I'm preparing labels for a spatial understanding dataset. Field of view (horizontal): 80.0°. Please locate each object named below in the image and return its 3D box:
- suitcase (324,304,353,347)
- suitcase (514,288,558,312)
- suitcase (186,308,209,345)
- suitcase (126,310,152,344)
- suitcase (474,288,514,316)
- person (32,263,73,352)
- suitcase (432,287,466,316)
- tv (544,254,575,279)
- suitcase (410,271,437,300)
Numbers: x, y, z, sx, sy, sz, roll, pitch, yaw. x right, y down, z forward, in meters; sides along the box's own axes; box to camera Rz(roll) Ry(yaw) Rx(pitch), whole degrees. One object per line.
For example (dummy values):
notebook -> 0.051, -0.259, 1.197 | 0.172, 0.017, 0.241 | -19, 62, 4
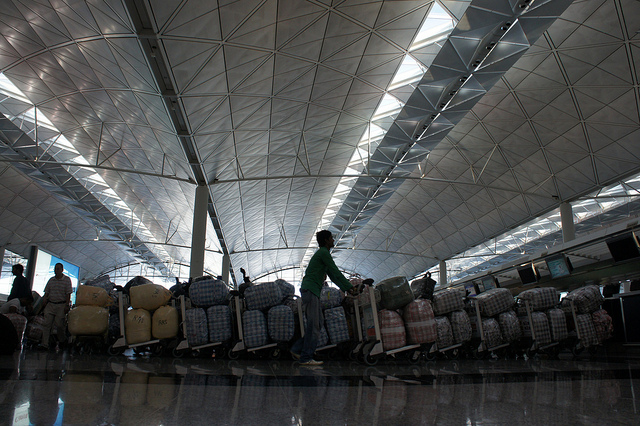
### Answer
suitcase -> 0.479, 2.985, 10.248 | 0.844, 0.888, 0.265 | -10, -4, -12
suitcase -> 6.437, 2.534, 11.592 | 1.138, 0.424, 0.750 | -1, -6, 0
suitcase -> -3.320, 3.078, 10.312 | 0.671, 0.872, 0.692 | -6, -22, -2
suitcase -> -4.921, 3.064, 10.445 | 0.659, 0.865, 0.261 | 4, -26, -18
suitcase -> 5.076, 2.535, 11.200 | 0.937, 0.471, 1.072 | -19, -9, 1
person -> -8.644, 2.965, 12.229 | 1.193, 2.407, 1.470 | -3, -10, 7
suitcase -> 3.403, 2.470, 10.877 | 1.084, 0.578, 0.726 | -6, 3, -30
tv -> 13.356, 3.045, 21.872 | 1.926, 1.253, 0.628 | -9, -8, -31
suitcase -> 3.026, 2.042, 11.138 | 0.471, 0.885, 1.101 | 16, -19, -6
